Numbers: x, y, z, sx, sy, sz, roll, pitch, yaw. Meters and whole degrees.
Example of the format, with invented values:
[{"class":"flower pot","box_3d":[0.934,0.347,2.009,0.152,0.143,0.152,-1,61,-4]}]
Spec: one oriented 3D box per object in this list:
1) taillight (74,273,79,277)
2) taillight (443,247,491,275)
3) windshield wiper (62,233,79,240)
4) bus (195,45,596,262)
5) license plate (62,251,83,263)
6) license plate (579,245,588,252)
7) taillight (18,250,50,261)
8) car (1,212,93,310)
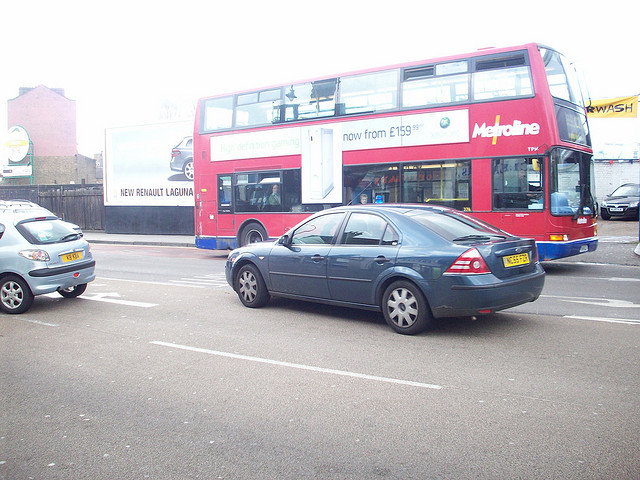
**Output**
[{"class":"taillight","box_3d":[-4.693,0.665,8.922,0.024,0.078,0.107,-2,3,8]},{"class":"taillight","box_3d":[2.029,0.322,6.443,0.312,0.225,0.446,2,-14,-36]},{"class":"windshield wiper","box_3d":[-4.937,-0.068,9.101,0.077,0.096,0.316,-1,3,18]},{"class":"bus","box_3d":[1.536,-2.322,15.641,12.342,5.791,4.346,2,8,32]},{"class":"license plate","box_3d":[-4.776,0.323,8.941,0.024,0.165,0.454,-1,3,18]},{"class":"license plate","box_3d":[6.916,0.213,12.312,0.209,0.208,0.054,0,12,-43]},{"class":"taillight","box_3d":[-5.189,0.278,8.383,0.482,0.215,0.127,-3,3,-8]},{"class":"car","box_3d":[-5.095,0.262,8.725,1.889,1.099,1.056,8,9,29]}]
